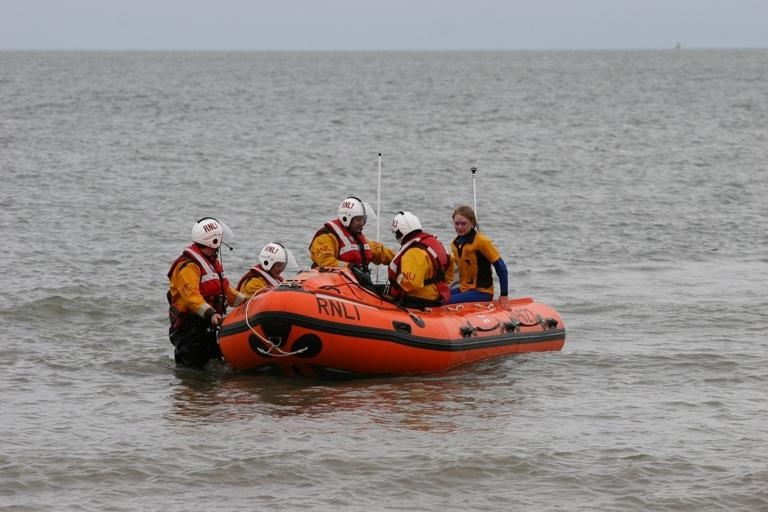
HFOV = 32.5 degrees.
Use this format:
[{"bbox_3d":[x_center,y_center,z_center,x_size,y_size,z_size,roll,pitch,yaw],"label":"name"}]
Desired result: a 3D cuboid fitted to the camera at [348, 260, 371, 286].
[{"bbox_3d":[-0.511,0.380,27.738,0.676,0.220,0.317,33,23,-5],"label":"camera"}]
